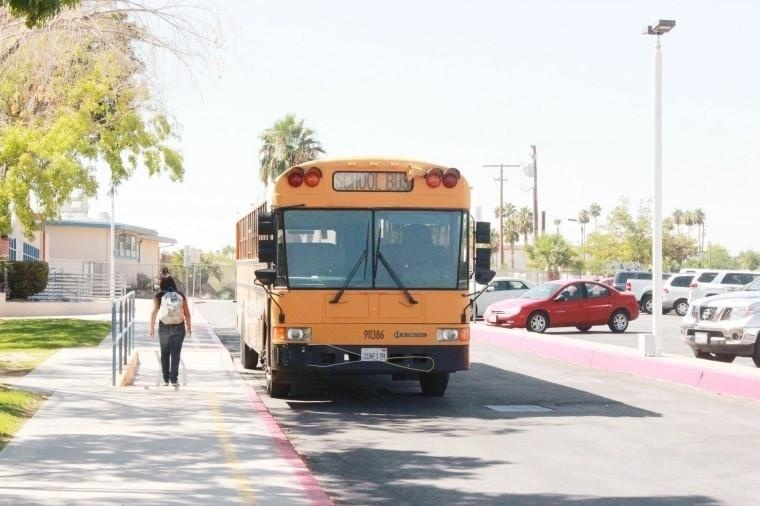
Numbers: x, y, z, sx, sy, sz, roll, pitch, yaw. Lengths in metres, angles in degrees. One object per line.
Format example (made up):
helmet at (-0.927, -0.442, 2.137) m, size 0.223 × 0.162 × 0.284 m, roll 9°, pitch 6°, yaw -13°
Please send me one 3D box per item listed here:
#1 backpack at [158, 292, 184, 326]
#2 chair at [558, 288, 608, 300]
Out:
backpack at (-4.152, 1.081, 15.761) m, size 0.479 × 0.634 × 0.365 m, roll 0°, pitch 2°, yaw -9°
chair at (7.251, 1.434, 28.625) m, size 1.942 × 0.403 × 0.340 m, roll 0°, pitch 2°, yaw -23°
